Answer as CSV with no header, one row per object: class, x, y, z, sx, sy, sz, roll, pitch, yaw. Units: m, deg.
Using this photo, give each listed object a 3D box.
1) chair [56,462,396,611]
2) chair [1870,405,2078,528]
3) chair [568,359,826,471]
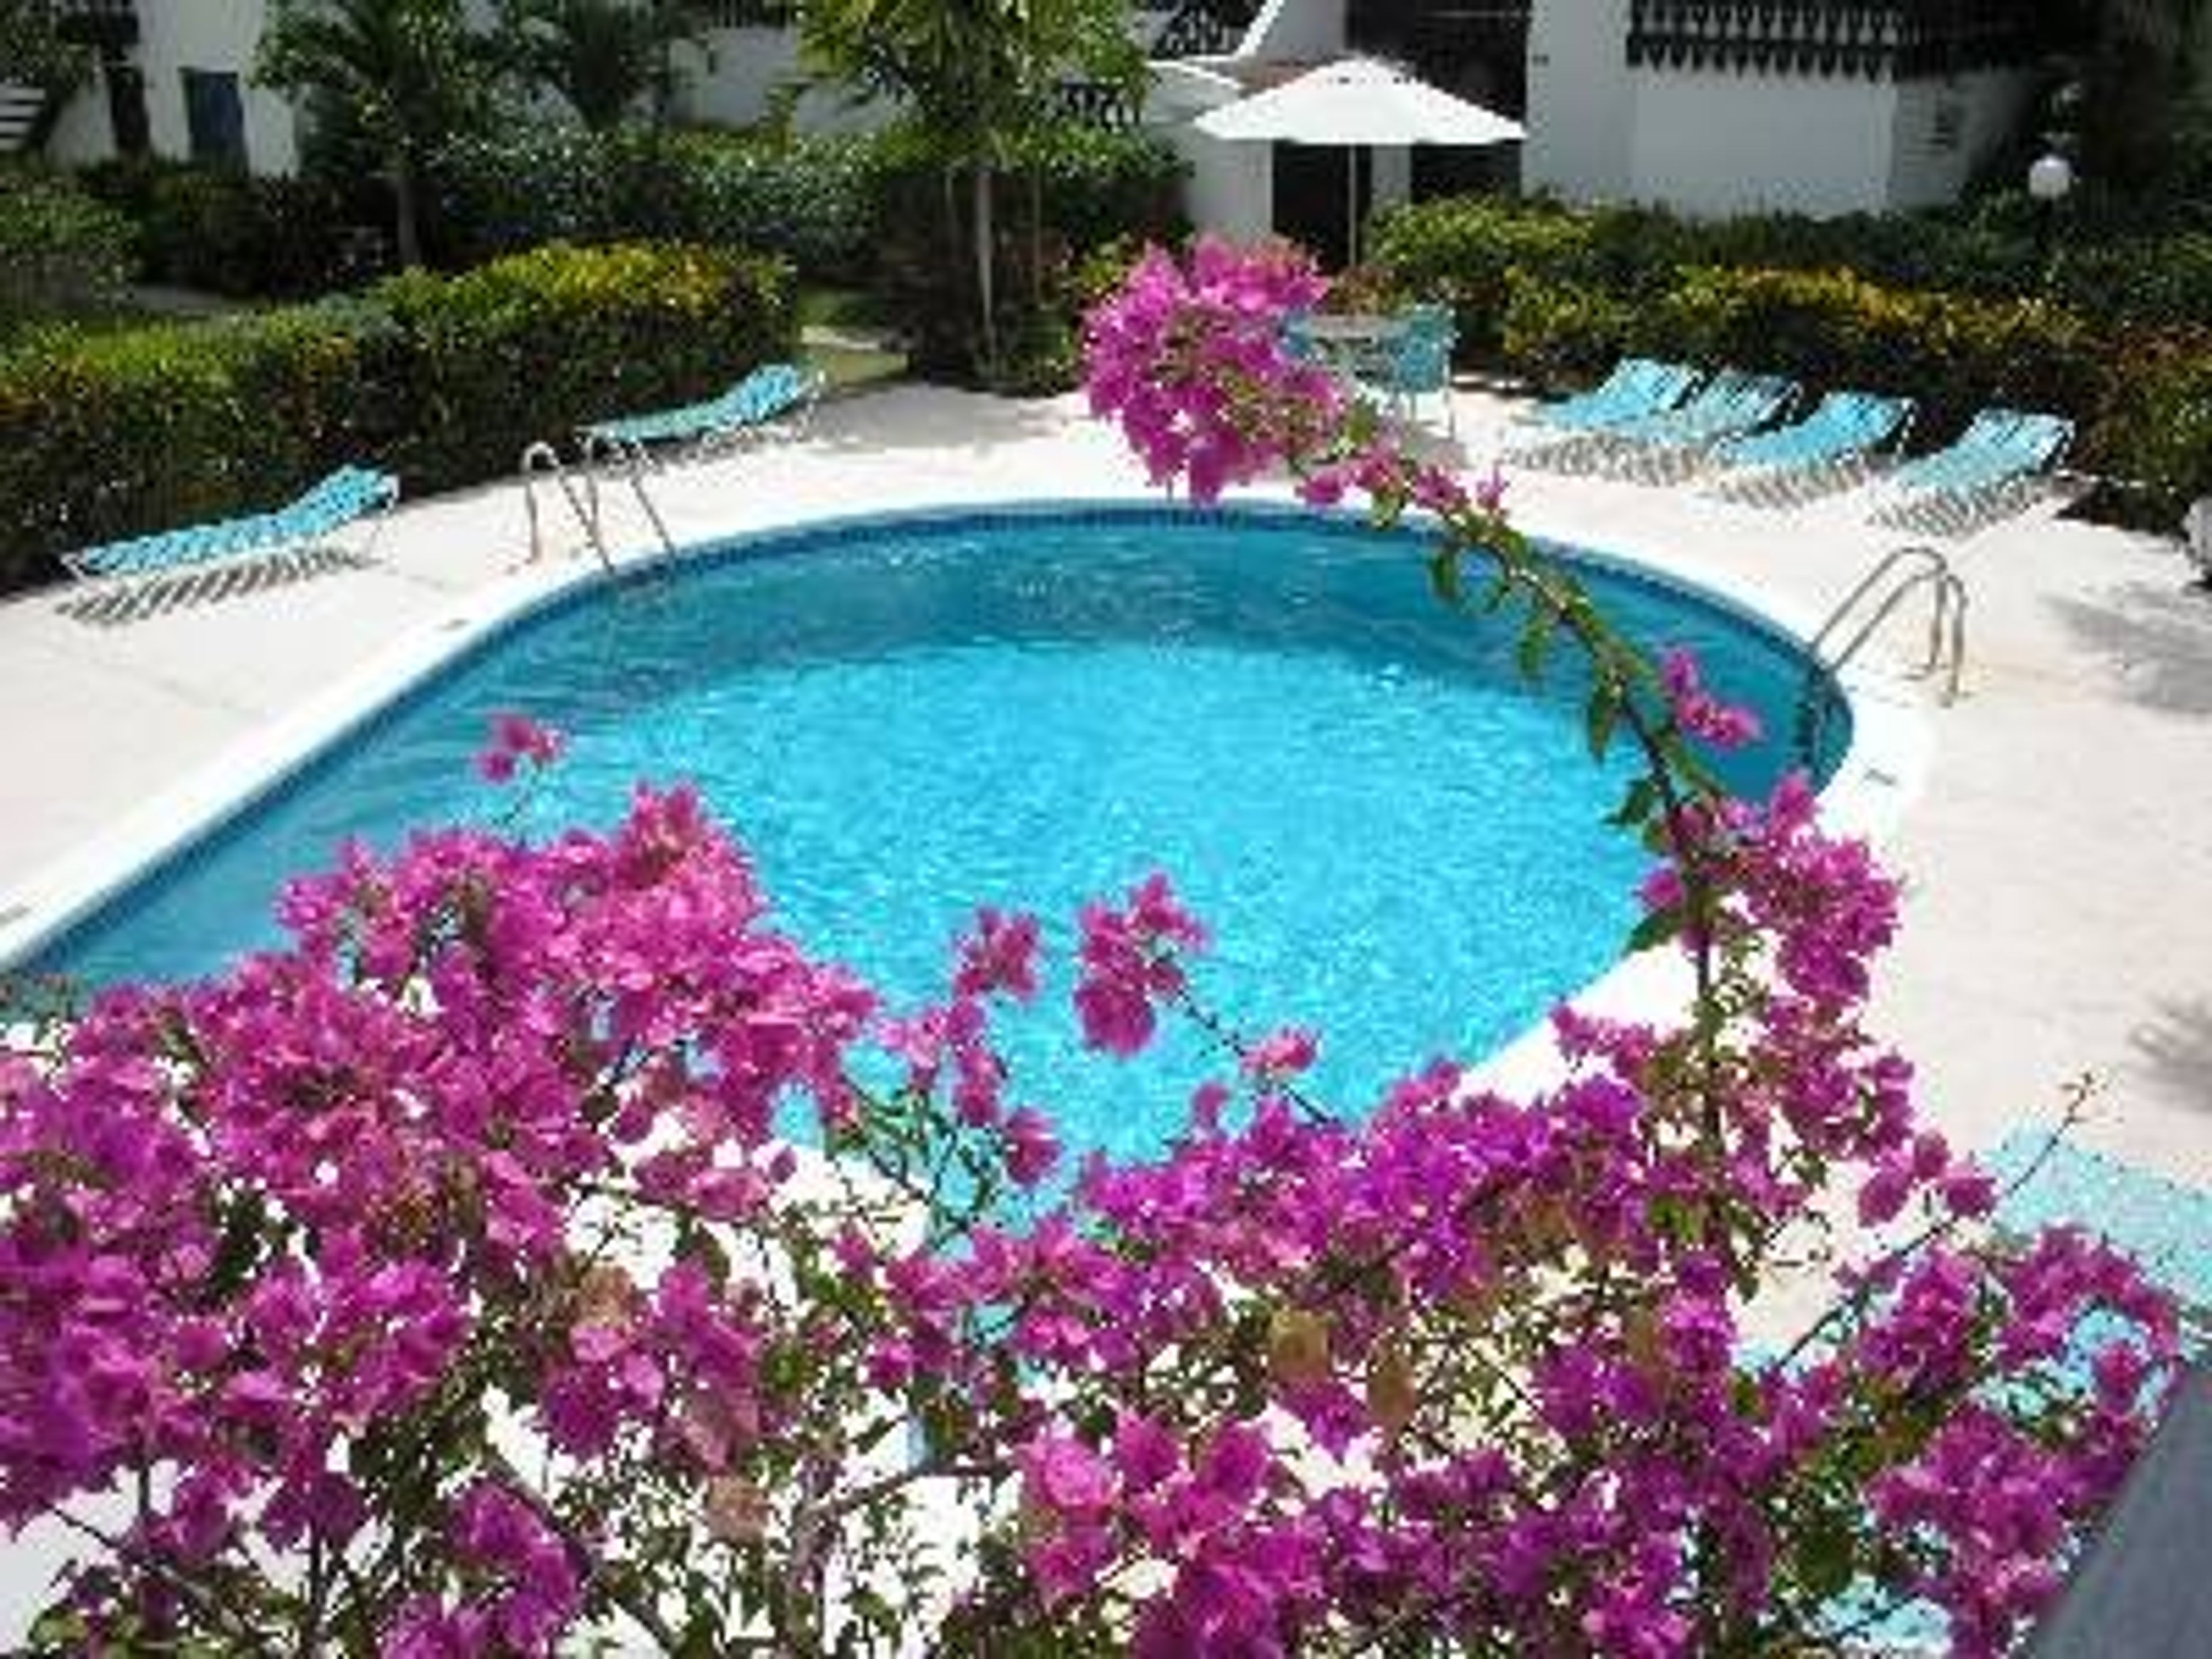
chair,-7.012,-2.269,12.393,1.836,0.557,0.543,-31,59,-35
chair,7.616,-3.200,13.833,1.142,0.800,2.896,21,31,40
chair,-4.183,-4.113,15.758,2.661,0.714,0.940,-29,51,-27
